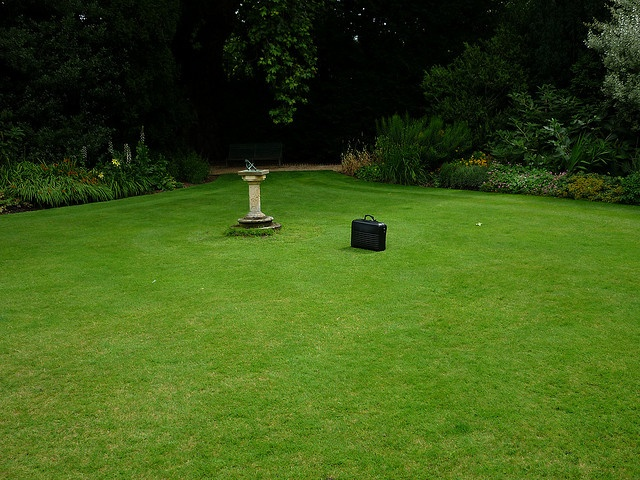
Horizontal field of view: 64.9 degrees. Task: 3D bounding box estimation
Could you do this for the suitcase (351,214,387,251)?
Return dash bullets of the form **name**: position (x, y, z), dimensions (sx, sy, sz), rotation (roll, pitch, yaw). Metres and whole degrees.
- **suitcase**: position (0.687, -0.093, 7.034), dimensions (0.546, 0.537, 0.197), rotation (6, 8, 38)
